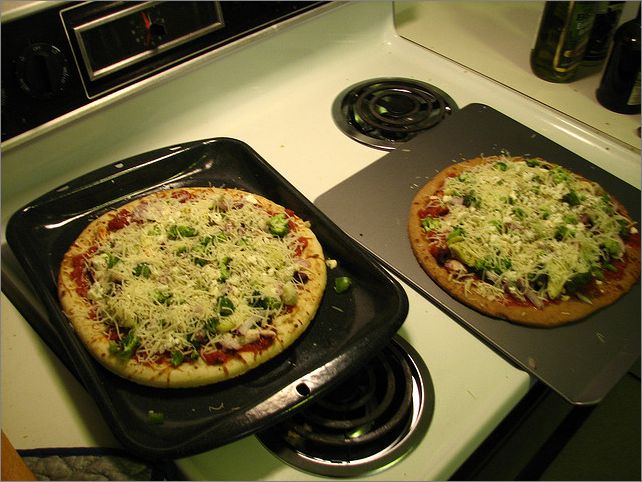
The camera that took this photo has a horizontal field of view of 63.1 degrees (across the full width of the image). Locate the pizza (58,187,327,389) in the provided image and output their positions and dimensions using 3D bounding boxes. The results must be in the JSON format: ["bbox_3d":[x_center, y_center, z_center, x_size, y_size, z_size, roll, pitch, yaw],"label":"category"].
[{"bbox_3d":[-0.265,0.061,1.114,0.526,0.083,0.514,-30,58,-16],"label":"pizza"}]
